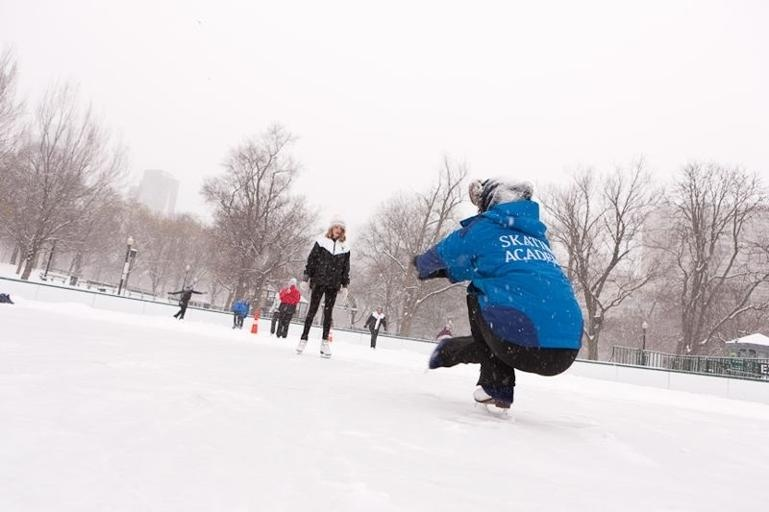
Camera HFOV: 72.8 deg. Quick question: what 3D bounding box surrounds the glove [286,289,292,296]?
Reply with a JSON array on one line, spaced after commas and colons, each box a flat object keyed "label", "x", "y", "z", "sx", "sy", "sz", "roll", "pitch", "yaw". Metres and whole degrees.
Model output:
[{"label": "glove", "x": -2.821, "y": 1.048, "z": 15.523, "sx": 0.104, "sy": 0.147, "sz": 0.139, "roll": 11, "pitch": -8, "yaw": -11}]

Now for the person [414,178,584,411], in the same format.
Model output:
[{"label": "person", "x": 0.868, "y": 0.293, "z": 4.080, "sx": 1.071, "sy": 1.733, "sz": 1.395, "roll": 9, "pitch": -5, "yaw": -22}]

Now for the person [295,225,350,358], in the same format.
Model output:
[{"label": "person", "x": -0.816, "y": 0.415, "z": 7.191, "sx": 0.668, "sy": 1.840, "sz": 1.514, "roll": 10, "pitch": -8, "yaw": -5}]

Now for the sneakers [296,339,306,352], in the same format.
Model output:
[{"label": "sneakers", "x": -1.078, "y": 1.177, "z": 6.694, "sx": 0.080, "sy": 0.244, "sz": 0.128, "roll": 11, "pitch": 13, "yaw": 19}]

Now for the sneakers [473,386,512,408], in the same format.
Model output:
[{"label": "sneakers", "x": 0.778, "y": 1.006, "z": 3.770, "sx": 0.248, "sy": 0.111, "sz": 0.140, "roll": 20, "pitch": -4, "yaw": 20}]
